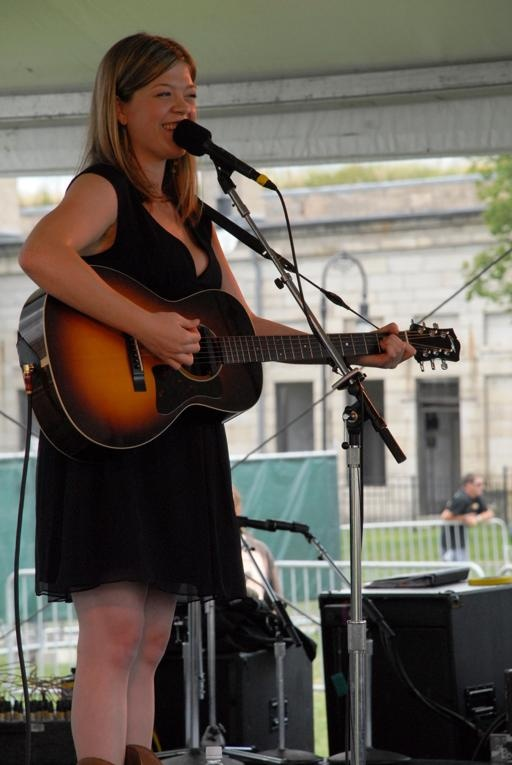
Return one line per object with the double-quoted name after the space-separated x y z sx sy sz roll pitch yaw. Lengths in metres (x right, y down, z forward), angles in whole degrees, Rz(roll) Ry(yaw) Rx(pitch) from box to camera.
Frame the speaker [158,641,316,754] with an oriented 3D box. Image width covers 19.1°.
-0.026 1.261 6.176 0.658 0.501 0.586 -2 -6 12 "speaker"
